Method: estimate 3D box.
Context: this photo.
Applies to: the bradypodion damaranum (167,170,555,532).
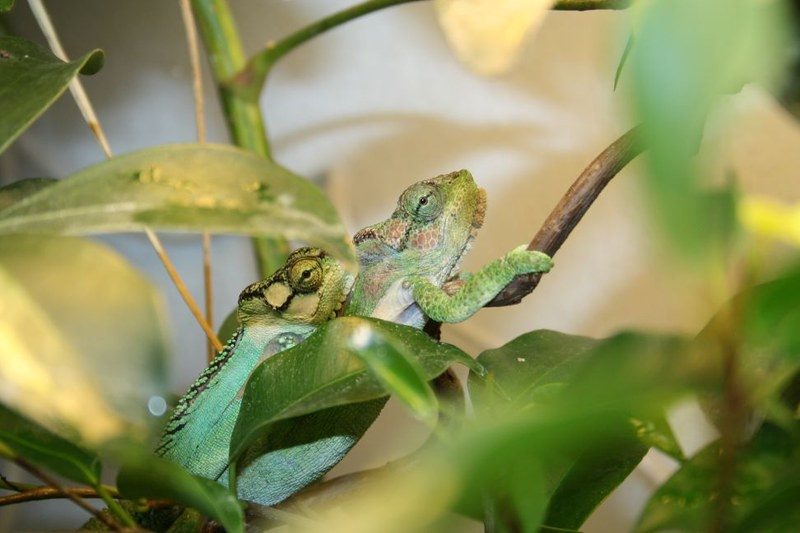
[{"bbox_3d":[-0.027,0.081,1.222,0.249,0.621,0.283,47,-2,-7],"label":"bradypodion damaranum"}]
